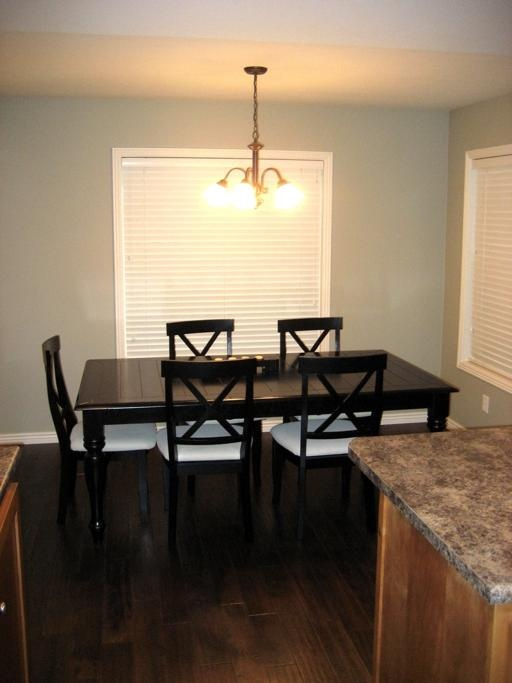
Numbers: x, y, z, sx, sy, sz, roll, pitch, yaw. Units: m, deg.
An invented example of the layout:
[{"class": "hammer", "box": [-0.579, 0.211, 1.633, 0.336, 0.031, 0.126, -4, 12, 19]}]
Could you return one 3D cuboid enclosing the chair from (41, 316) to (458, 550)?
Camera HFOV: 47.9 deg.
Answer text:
[{"class": "chair", "box": [-0.162, 0.362, 3.573, 2.133, 0.943, 1.761, -3, 9, -15]}]
